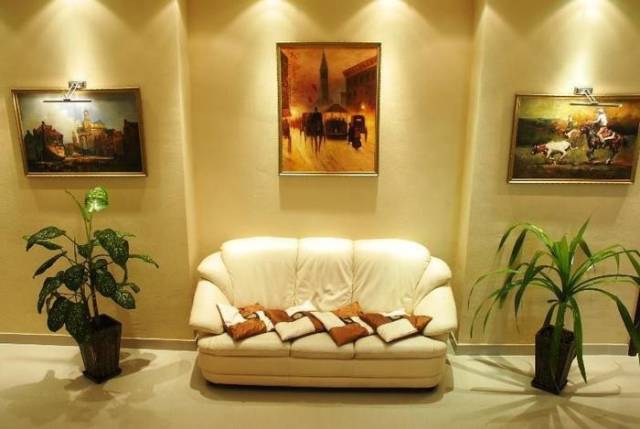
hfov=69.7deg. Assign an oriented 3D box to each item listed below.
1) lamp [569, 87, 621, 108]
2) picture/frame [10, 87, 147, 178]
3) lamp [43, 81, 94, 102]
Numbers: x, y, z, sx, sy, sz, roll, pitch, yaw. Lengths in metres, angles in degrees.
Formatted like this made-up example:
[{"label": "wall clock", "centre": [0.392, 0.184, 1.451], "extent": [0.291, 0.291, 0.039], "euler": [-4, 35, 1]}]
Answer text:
[{"label": "lamp", "centre": [2.990, -1.273, 4.983], "extent": [0.579, 0.216, 0.160], "euler": [0, 9, 2]}, {"label": "picture/frame", "centre": [-2.658, -0.957, 5.147], "extent": [1.025, 0.712, 0.044], "euler": [2, 20, 2]}, {"label": "lamp", "centre": [-2.806, -1.353, 5.095], "extent": [0.557, 0.239, 0.105], "euler": [1, 9, 4]}]
